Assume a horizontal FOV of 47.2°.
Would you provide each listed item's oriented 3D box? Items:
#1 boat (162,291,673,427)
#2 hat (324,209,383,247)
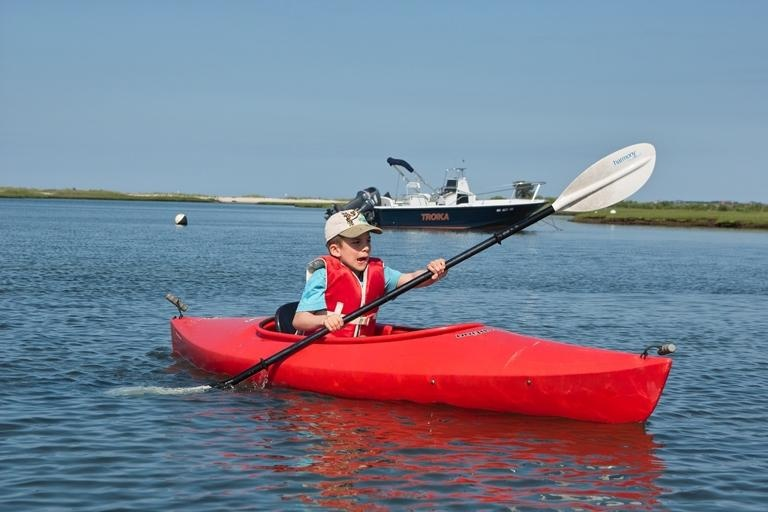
[{"bbox_3d":[-0.323,1.306,11.249,7.440,0.759,1.846,1,10,23],"label":"boat"},{"bbox_3d":[-0.417,-0.405,10.595,0.746,0.227,0.463,4,18,26],"label":"hat"}]
